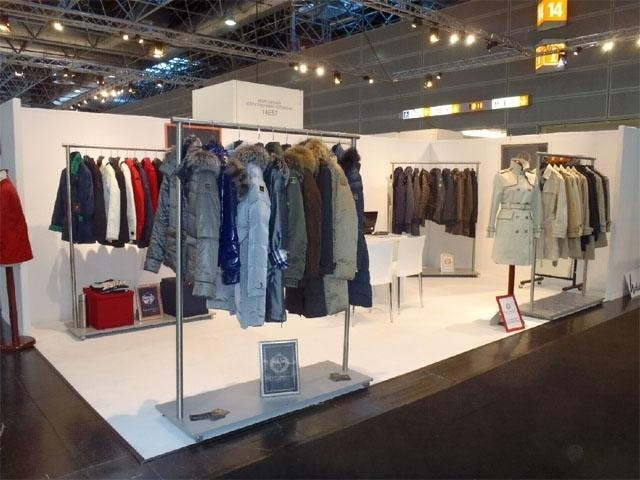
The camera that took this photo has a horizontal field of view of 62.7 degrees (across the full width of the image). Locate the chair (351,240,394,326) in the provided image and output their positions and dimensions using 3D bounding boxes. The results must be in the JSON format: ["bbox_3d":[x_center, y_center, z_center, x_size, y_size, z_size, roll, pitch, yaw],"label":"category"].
[{"bbox_3d":[0.762,0.486,6.680,0.391,1.011,1.263,-2,9,7],"label":"chair"}]

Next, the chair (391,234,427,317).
[{"bbox_3d":[1.267,0.369,7.448,0.403,1.041,1.468,-2,9,10],"label":"chair"}]

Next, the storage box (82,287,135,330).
[{"bbox_3d":[-2.486,0.761,6.159,0.451,0.484,0.448,2,2,45],"label":"storage box"}]
